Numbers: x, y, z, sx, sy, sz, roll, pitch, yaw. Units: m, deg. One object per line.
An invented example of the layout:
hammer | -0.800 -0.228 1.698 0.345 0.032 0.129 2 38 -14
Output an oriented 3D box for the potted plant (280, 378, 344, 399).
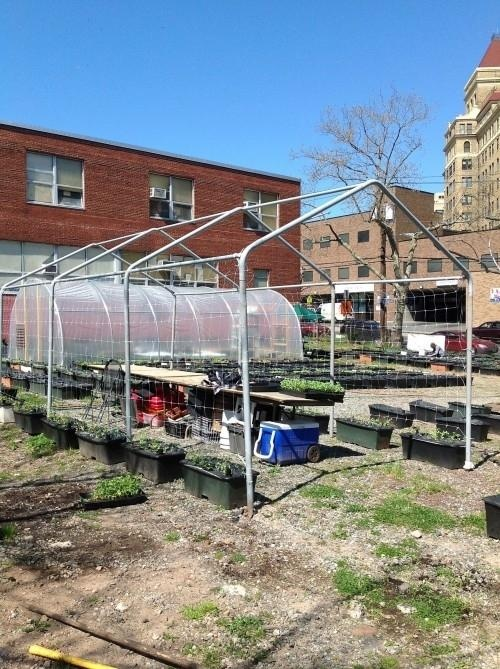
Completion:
potted plant | 0.749 0.661 7.377 0.642 0.222 0.610 0 3 -26

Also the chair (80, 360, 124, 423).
chair | -2.271 0.894 9.310 0.625 0.917 0.558 -7 6 -36

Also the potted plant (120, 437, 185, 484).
potted plant | -1.019 1.279 6.354 0.383 0.217 0.578 -2 6 -43

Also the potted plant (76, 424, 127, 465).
potted plant | -1.700 1.273 7.128 0.364 0.363 0.702 -1 3 -38

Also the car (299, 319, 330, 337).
car | 4.215 -0.357 39.737 2.216 0.957 1.391 0 1 43

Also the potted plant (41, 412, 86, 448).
potted plant | -2.407 1.253 7.936 0.269 0.374 0.919 -1 3 -37

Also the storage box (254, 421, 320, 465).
storage box | 0.381 1.246 7.145 0.727 0.405 0.422 -2 4 -35

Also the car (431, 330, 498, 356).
car | 7.516 0.329 21.761 2.175 0.611 1.089 -1 1 16

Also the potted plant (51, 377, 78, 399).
potted plant | -3.361 1.033 11.151 0.450 0.272 0.315 0 3 -11

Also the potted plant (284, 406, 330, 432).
potted plant | 0.855 1.198 8.819 0.392 0.197 0.587 0 -2 -24

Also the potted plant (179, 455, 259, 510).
potted plant | -0.314 1.322 5.637 0.346 0.378 0.683 -1 3 -38
